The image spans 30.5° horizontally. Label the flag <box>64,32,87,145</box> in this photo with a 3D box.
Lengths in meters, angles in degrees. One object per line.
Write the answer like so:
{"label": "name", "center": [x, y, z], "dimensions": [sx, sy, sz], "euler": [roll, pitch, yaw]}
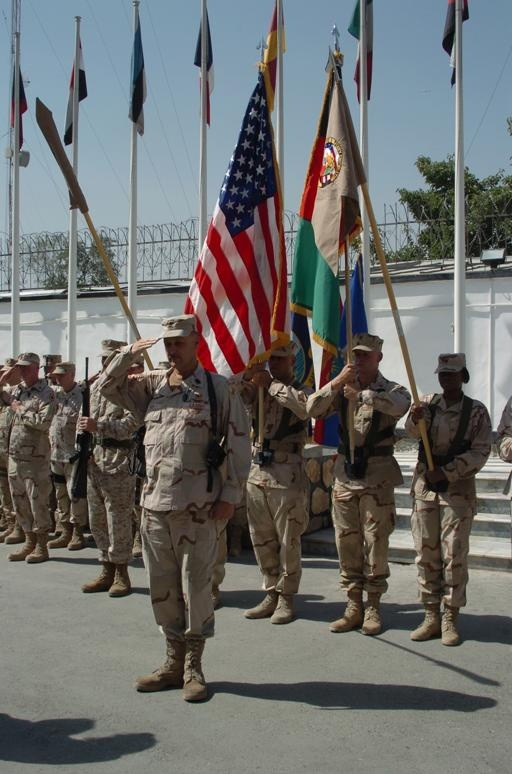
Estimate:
{"label": "flag", "center": [-2.972, -4.937, 15.399], "dimensions": [0.370, 1.802, 1.214], "euler": [-1, 3, -11]}

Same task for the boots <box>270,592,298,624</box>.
{"label": "boots", "center": [0.199, 1.547, 6.694], "dimensions": [0.157, 0.168, 0.345], "euler": [0, 3, 7]}

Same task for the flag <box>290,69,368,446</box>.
{"label": "flag", "center": [0.497, -1.115, 6.370], "dimensions": [0.315, 2.197, 0.779], "euler": [-2, 3, -25]}

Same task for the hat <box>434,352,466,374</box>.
{"label": "hat", "center": [1.327, -0.171, 6.300], "dimensions": [0.128, 0.097, 0.176], "euler": [-2, -1, 35]}

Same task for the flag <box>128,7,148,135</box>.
{"label": "flag", "center": [-1.930, -5.235, 15.240], "dimensions": [0.227, 2.136, 0.698], "euler": [-1, 3, -8]}

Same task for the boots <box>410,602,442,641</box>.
{"label": "boots", "center": [1.123, 1.535, 6.208], "dimensions": [0.193, 0.202, 0.332], "euler": [0, 3, 12]}

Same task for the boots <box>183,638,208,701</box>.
{"label": "boots", "center": [-0.344, 1.536, 5.157], "dimensions": [0.124, 0.295, 0.301], "euler": [-3, 5, -2]}

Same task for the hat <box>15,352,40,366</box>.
{"label": "hat", "center": [-2.192, -0.284, 9.059], "dimensions": [0.139, 0.103, 0.194], "euler": [-2, -13, 10]}

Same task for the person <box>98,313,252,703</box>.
{"label": "person", "center": [-0.453, 0.627, 5.304], "dimensions": [0.769, 2.085, 0.496], "euler": [1, 3, 29]}

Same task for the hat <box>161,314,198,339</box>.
{"label": "hat", "center": [-0.433, -0.347, 5.250], "dimensions": [0.207, 0.134, 0.204], "euler": [-1, 3, -19]}

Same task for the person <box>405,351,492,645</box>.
{"label": "person", "center": [1.291, 0.703, 6.232], "dimensions": [0.523, 1.858, 0.576], "euler": [0, 3, 11]}

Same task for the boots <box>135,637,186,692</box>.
{"label": "boots", "center": [-0.494, 1.563, 5.266], "dimensions": [0.377, 0.370, 0.163], "euler": [5, -9, -21]}

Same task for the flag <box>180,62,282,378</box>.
{"label": "flag", "center": [-0.085, -1.186, 6.529], "dimensions": [0.792, 2.200, 0.517], "euler": [-2, 3, -34]}

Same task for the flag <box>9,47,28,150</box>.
{"label": "flag", "center": [-4.399, -5.266, 17.374], "dimensions": [0.289, 1.908, 1.260], "euler": [-1, 3, -15]}

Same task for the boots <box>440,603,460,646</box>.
{"label": "boots", "center": [1.268, 1.522, 6.112], "dimensions": [0.112, 0.216, 0.281], "euler": [0, 3, 12]}
